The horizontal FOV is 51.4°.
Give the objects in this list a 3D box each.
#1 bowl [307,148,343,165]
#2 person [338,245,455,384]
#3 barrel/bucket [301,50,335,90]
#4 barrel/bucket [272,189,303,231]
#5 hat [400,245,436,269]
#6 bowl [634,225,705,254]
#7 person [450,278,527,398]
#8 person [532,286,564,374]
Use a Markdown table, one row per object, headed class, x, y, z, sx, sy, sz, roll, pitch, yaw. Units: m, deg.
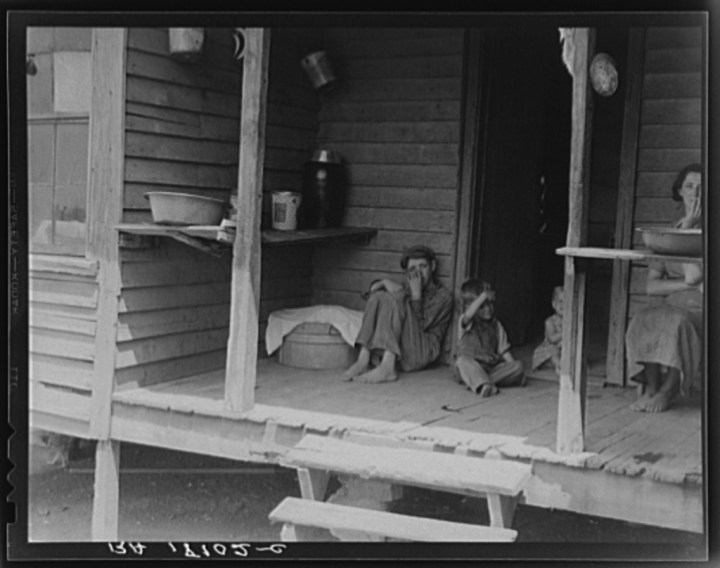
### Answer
| class | x | y | z | sx | sy | sz | roll | pitch | yaw |
| --- | --- | --- | --- | --- | --- | --- | --- | --- | --- |
| bowl | -0.306 | -1.148 | 6.770 | 0.288 | 0.156 | 0.223 | 3 | 4 | -1 |
| person | 0.336 | 0.233 | 6.145 | 0.508 | 1.074 | 0.942 | 6 | 6 | 42 |
| barrel/bucket | -0.378 | -1.903 | 6.807 | 0.322 | 0.262 | 0.285 | -30 | -6 | 42 |
| barrel/bucket | -0.651 | -0.614 | 6.353 | 0.264 | 0.339 | 0.270 | 3 | 4 | 0 |
| hat | 0.498 | -0.225 | 6.342 | 0.209 | 0.115 | 0.256 | -1 | -5 | 1 |
| bowl | 1.801 | -0.241 | 4.335 | 0.324 | 0.155 | 0.204 | 4 | 4 | 22 |
| person | 0.923 | 0.393 | 5.839 | 0.538 | 0.839 | 0.590 | -1 | 6 | -41 |
| person | 1.469 | 0.363 | 5.873 | 0.207 | 0.703 | 0.772 | 4 | 4 | 13 |
